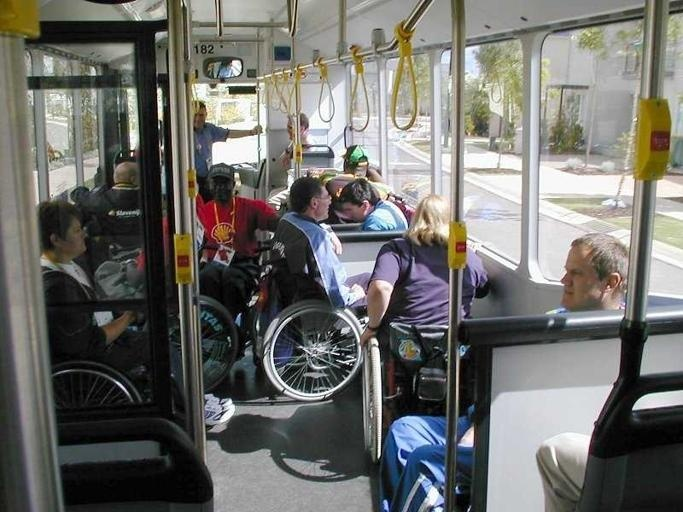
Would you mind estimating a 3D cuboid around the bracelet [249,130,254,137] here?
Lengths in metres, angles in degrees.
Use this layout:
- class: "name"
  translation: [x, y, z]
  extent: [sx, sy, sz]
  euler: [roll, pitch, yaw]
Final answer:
- class: "bracelet"
  translation: [-1.381, -1.897, 8.834]
  extent: [0.089, 0.091, 0.090]
  euler: [-1, 8, -38]

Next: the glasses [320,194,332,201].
- class: "glasses"
  translation: [-0.120, -0.470, 4.575]
  extent: [0.095, 0.030, 0.094]
  euler: [-1, 7, -4]

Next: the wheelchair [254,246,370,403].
- class: "wheelchair"
  translation: [-0.136, 0.622, 4.519]
  extent: [0.903, 1.034, 1.017]
  euler: [6, -3, -26]

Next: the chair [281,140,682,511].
- class: "chair"
  translation: [0.490, 0.235, 2.922]
  extent: [0.950, 1.713, 1.733]
  euler: [0, 17, -4]

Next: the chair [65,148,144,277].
- class: "chair"
  translation: [-1.247, -0.258, 2.978]
  extent: [0.342, 0.782, 0.484]
  euler: [-5, 53, -34]
